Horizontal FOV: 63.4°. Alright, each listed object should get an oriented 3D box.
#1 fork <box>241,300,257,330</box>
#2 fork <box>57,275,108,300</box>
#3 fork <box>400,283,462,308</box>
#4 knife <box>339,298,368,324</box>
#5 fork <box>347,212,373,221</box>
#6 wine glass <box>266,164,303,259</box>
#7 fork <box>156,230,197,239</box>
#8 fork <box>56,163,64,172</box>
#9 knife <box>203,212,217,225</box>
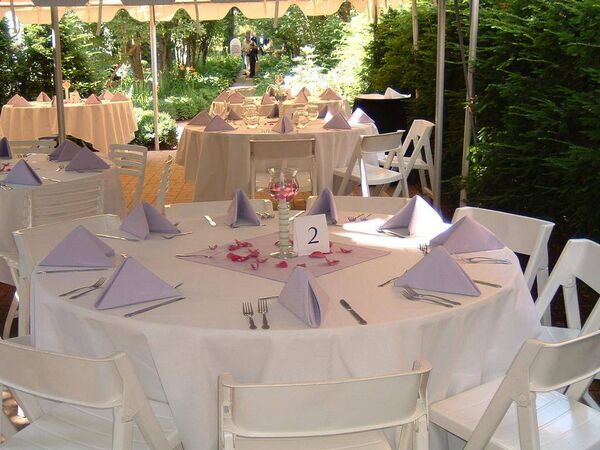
[{"bbox_3d":[-0.181,0.315,1.720,0.031,0.019,0.125,5,32,-17],"label":"fork"},{"bbox_3d":[-0.856,0.247,1.931,0.051,0.028,0.172,15,27,36],"label":"fork"},{"bbox_3d":[0.488,0.273,1.837,0.235,0.040,0.074,15,36,24],"label":"fork"},{"bbox_3d":[0.193,0.302,1.732,0.032,0.013,0.148,-8,18,-15],"label":"knife"},{"bbox_3d":[0.345,-0.048,2.781,0.058,0.052,0.104,-2,6,29],"label":"fork"},{"bbox_3d":[-0.074,-0.064,2.254,0.131,0.394,0.134,-15,24,-37],"label":"wine glass"},{"bbox_3d":[-0.653,0.046,2.524,0.155,0.030,0.022,-2,39,-29],"label":"fork"},{"bbox_3d":[-2.151,-0.510,4.344,0.042,0.056,0.131,4,8,-9],"label":"fork"},{"bbox_3d":[-0.510,-0.040,2.745,0.034,0.007,0.156,-8,18,-19],"label":"knife"}]
